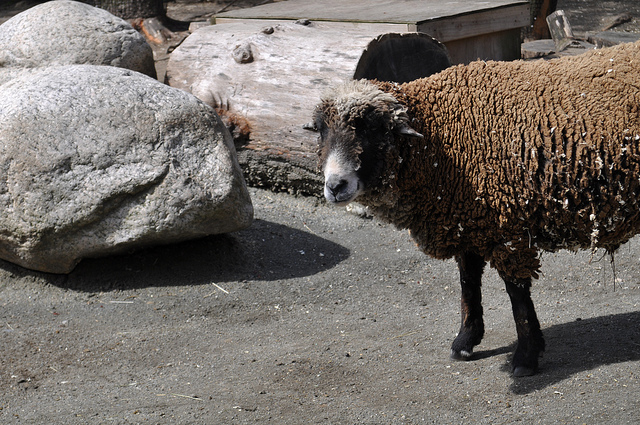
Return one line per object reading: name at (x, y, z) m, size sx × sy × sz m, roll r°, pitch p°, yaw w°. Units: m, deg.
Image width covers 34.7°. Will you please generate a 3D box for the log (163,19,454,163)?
log at (-0.401, -1.547, 12.708) m, size 3.393 × 1.510 × 1.500 m, roll 13°, pitch 40°, yaw 32°
